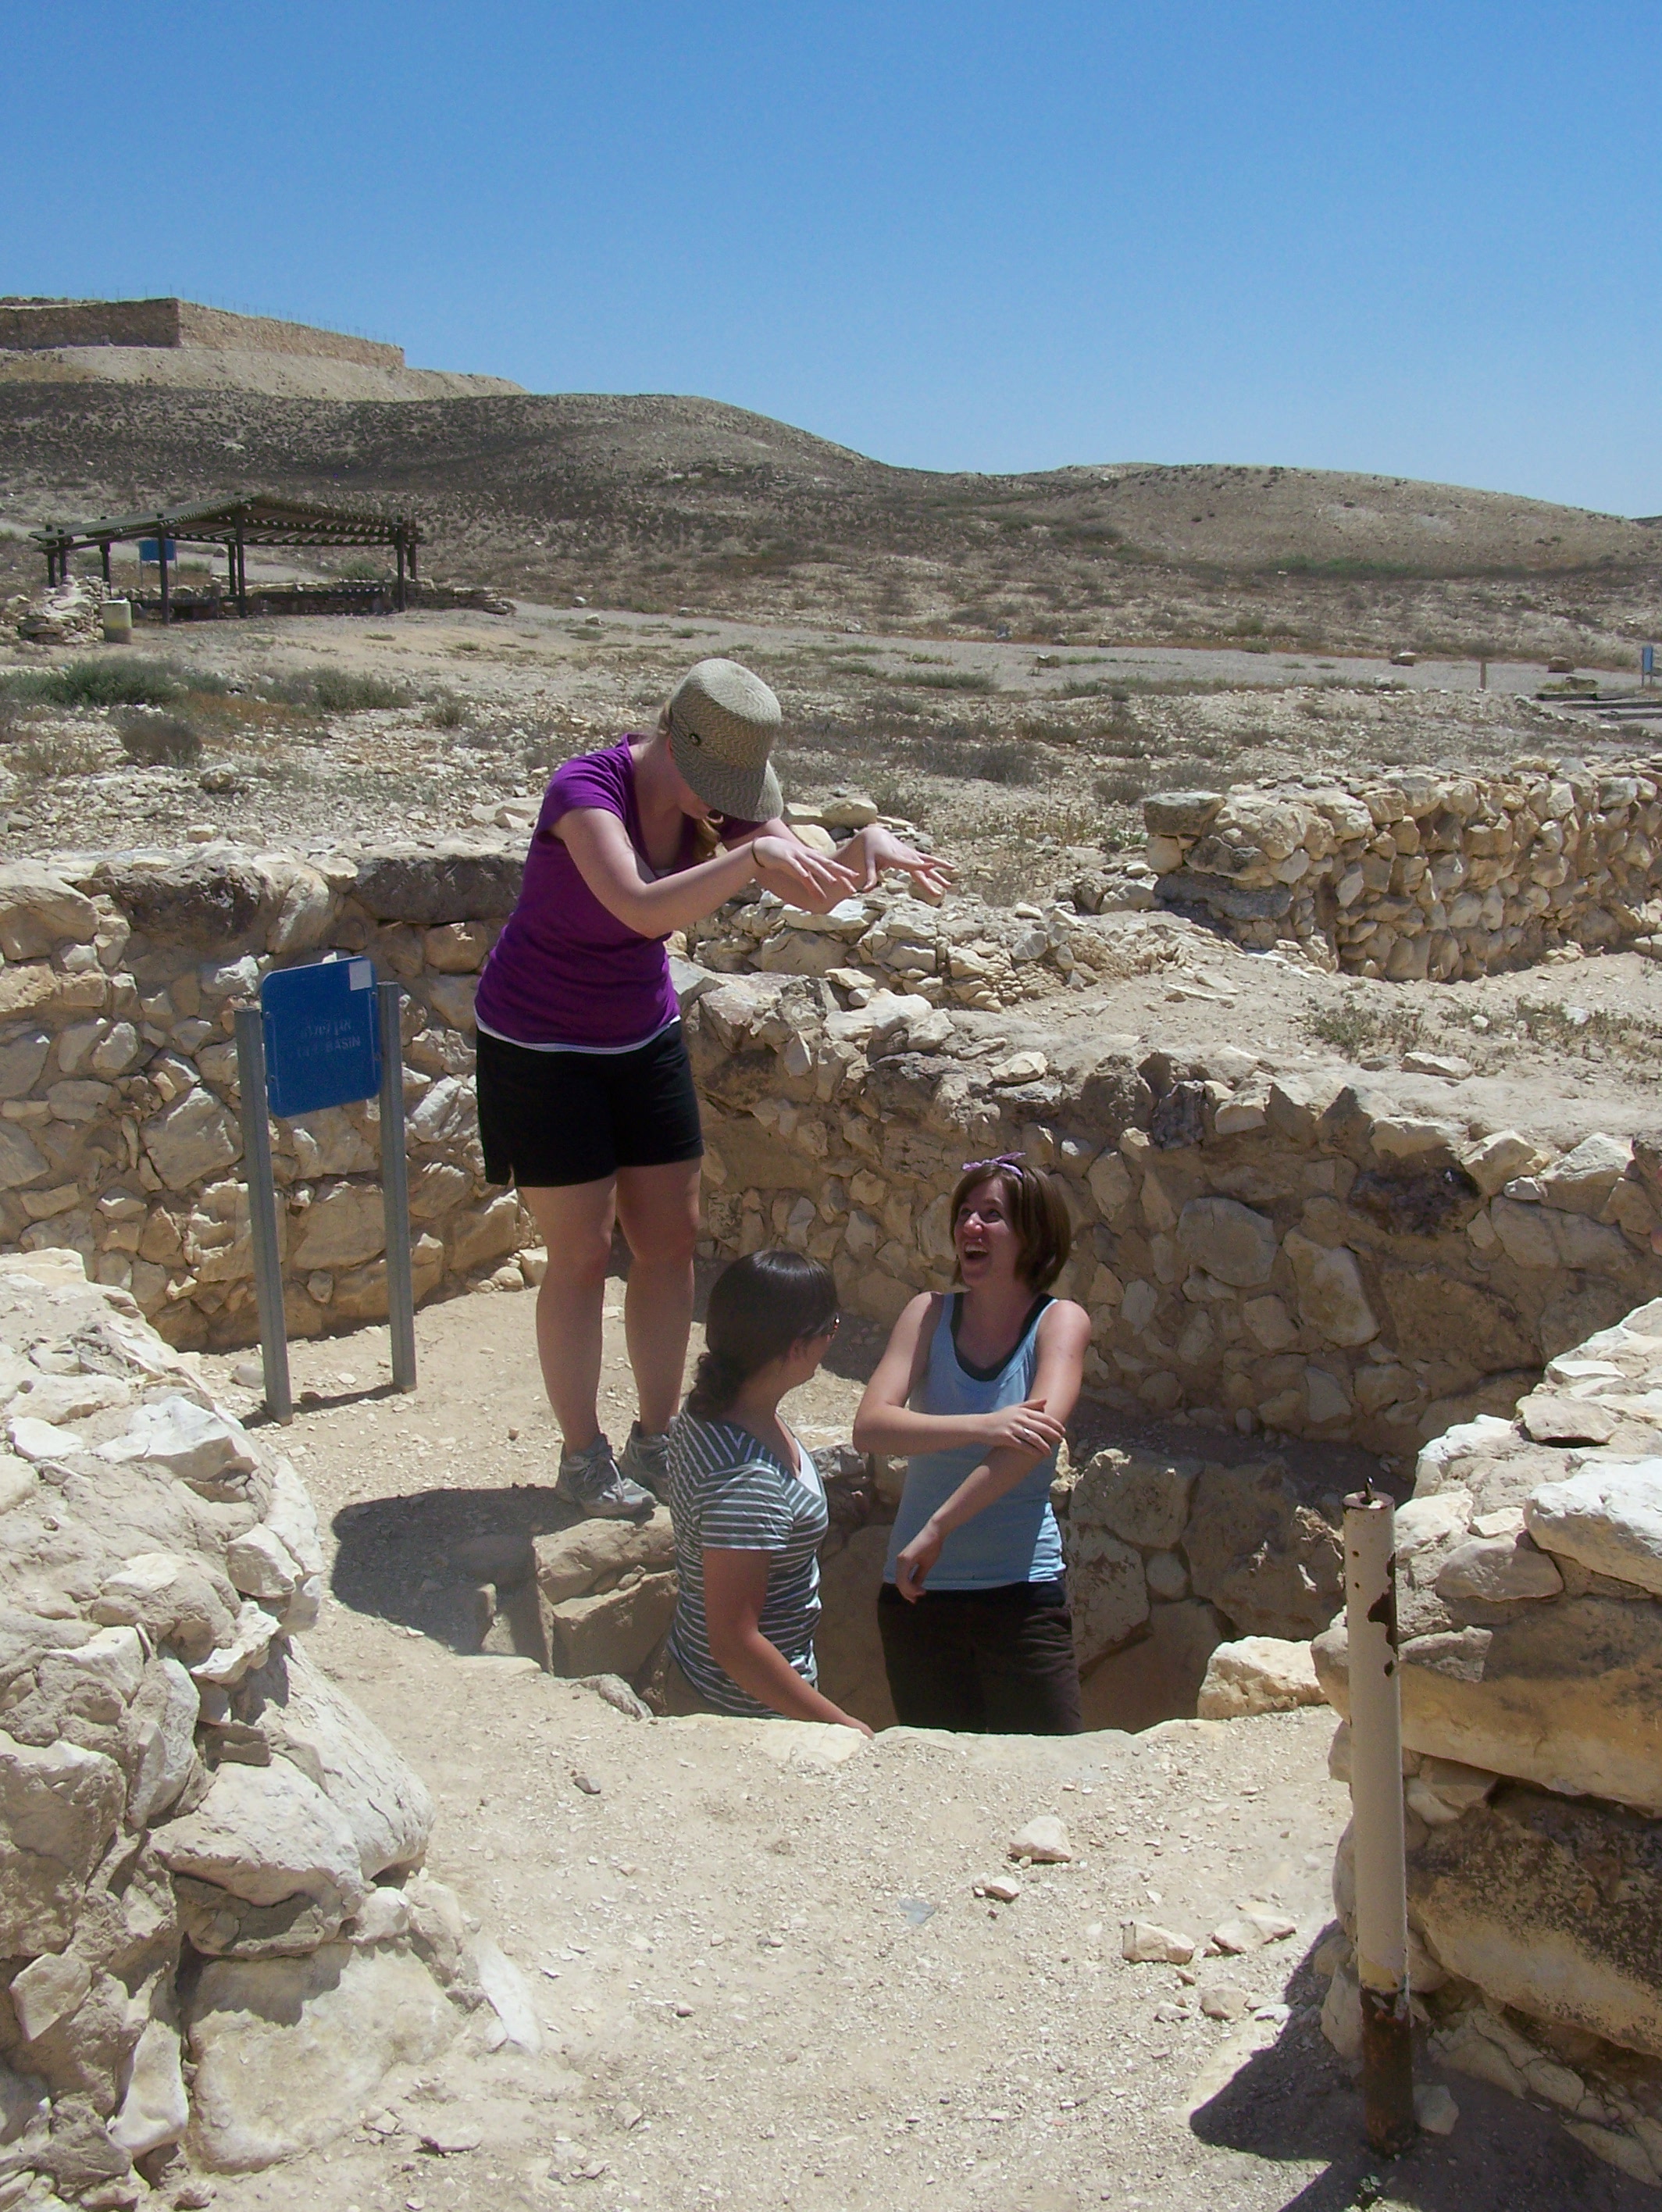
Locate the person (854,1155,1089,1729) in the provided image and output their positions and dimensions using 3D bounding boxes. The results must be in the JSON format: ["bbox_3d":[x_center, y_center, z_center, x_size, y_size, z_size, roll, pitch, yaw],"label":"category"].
[{"bbox_3d":[0.247,0.654,3.399,0.415,1.077,0.569,3,8,8],"label":"person"}]

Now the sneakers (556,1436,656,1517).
[{"bbox_3d":[-0.501,0.807,4.167,0.262,0.116,0.127,2,4,41],"label":"sneakers"}]

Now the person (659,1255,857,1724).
[{"bbox_3d":[-0.129,0.715,3.277,0.308,0.912,0.545,1,8,-5],"label":"person"}]

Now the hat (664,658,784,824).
[{"bbox_3d":[-0.208,-0.687,3.544,0.220,0.309,0.267,1,7,-6],"label":"hat"}]
